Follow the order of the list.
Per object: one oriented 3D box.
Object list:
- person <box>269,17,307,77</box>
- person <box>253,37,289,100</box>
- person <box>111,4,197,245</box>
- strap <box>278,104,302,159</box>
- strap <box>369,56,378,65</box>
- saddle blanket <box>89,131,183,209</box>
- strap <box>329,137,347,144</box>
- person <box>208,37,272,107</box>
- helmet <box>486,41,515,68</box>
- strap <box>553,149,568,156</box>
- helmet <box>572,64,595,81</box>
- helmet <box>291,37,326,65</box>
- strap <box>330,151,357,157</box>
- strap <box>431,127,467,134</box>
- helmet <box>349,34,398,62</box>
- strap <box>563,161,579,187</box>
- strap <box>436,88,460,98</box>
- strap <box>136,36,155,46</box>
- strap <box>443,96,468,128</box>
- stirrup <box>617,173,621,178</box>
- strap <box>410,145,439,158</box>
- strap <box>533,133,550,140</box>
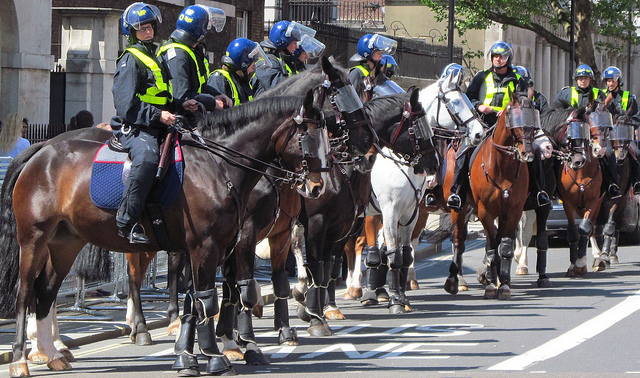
[{"bbox_3d":[-0.688,-2.600,18.017,0.635,0.881,0.675,13,19,37],"label":"person"},{"bbox_3d":[-0.826,-2.099,17.699,0.637,1.067,0.839,19,1,-1],"label":"person"},{"bbox_3d":[-2.707,-1.024,15.737,1.038,3.744,0.632,1,-2,-12],"label":"person"},{"bbox_3d":[-0.462,-0.911,15.676,0.103,0.895,0.123,31,-1,-41],"label":"strap"},{"bbox_3d":[1.010,-2.426,19.134,0.149,0.035,0.144,32,-7,3],"label":"strap"},{"bbox_3d":[-2.863,-0.301,15.735,1.454,1.184,0.262,0,-2,11],"label":"saddle blanket"},{"bbox_3d":[0.276,-0.800,16.700,0.133,0.054,0.176,-18,2,19],"label":"strap"},{"bbox_3d":[-1.510,-2.124,17.834,1.315,1.191,0.935,-3,31,-20],"label":"person"},{"bbox_3d":[3.728,-2.776,21.341,0.478,0.469,0.576,13,-10,-15],"label":"helmet"},{"bbox_3d":[5.274,-0.806,22.165,0.302,0.047,0.053,22,0,-29],"label":"strap"},{"bbox_3d":[6.239,-2.745,23.865,0.444,0.308,0.575,2,7,15],"label":"helmet"},{"bbox_3d":[-0.203,-2.410,17.831,0.382,0.455,0.368,30,12,-10],"label":"helmet"},{"bbox_3d":[0.360,-0.588,16.996,0.249,0.062,0.136,4,-5,-6],"label":"strap"},{"bbox_3d":[2.527,-1.145,19.740,0.673,0.133,0.229,0,-1,2],"label":"strap"},{"bbox_3d":[1.040,-2.659,19.156,0.724,0.337,0.494,-1,8,15],"label":"helmet"},{"bbox_3d":[5.724,-0.367,22.828,0.153,0.599,0.188,-28,-11,-14],"label":"strap"},{"bbox_3d":[2.464,-1.856,19.709,0.400,0.156,0.033,0,-2,7],"label":"strap"},{"bbox_3d":[-2.760,-2.306,15.906,0.275,0.155,0.186,1,-1,-18],"label":"strap"},{"bbox_3d":[2.629,-1.504,19.675,0.738,0.102,0.108,46,-1,3],"label":"strap"},{"bbox_3d":[7.167,-0.319,24.168,0.173,0.103,0.043,21,-28,-38],"label":"stirrup"},{"bbox_3d":[1.899,-0.674,18.211,0.558,0.217,0.209,1,-2,-35],"label":"strap"},{"bbox_3d":[4.570,-1.105,20.926,0.221,0.195,0.214,-2,6,6],"label":"strap"}]
